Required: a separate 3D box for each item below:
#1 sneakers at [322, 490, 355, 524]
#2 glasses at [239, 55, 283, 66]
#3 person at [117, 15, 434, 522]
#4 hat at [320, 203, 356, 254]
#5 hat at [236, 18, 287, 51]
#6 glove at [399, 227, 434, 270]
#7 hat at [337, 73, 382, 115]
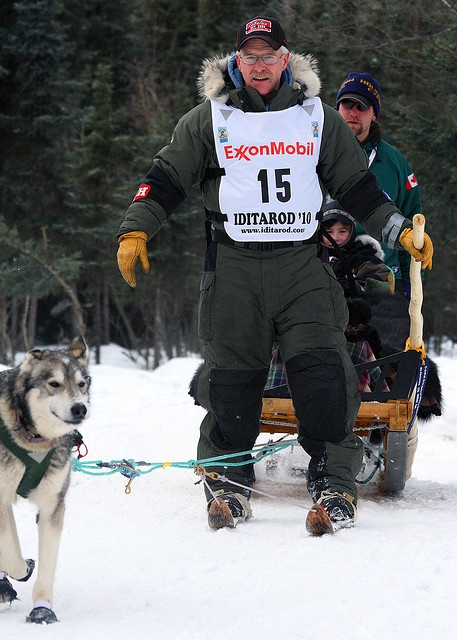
[{"bbox_3d":[0.471,0.813,3.764,0.154,0.111,0.152,-4,2,3],"label":"sneakers"},{"bbox_3d":[0.140,-1.148,3.913,0.175,0.042,0.047,-3,2,2],"label":"glasses"},{"bbox_3d":[0.195,-0.236,3.924,1.248,1.811,0.554,-4,2,6],"label":"person"},{"bbox_3d":[0.649,-0.533,5.163,0.246,0.272,0.298,-5,12,-11],"label":"hat"},{"bbox_3d":[0.152,-1.260,3.935,0.158,0.104,0.208,-1,-8,13],"label":"hat"},{"bbox_3d":[0.836,-0.300,3.837,0.078,0.184,0.105,-20,31,33],"label":"glove"},{"bbox_3d":[0.862,-1.557,5.868,0.302,0.258,0.404,10,26,6],"label":"hat"}]
